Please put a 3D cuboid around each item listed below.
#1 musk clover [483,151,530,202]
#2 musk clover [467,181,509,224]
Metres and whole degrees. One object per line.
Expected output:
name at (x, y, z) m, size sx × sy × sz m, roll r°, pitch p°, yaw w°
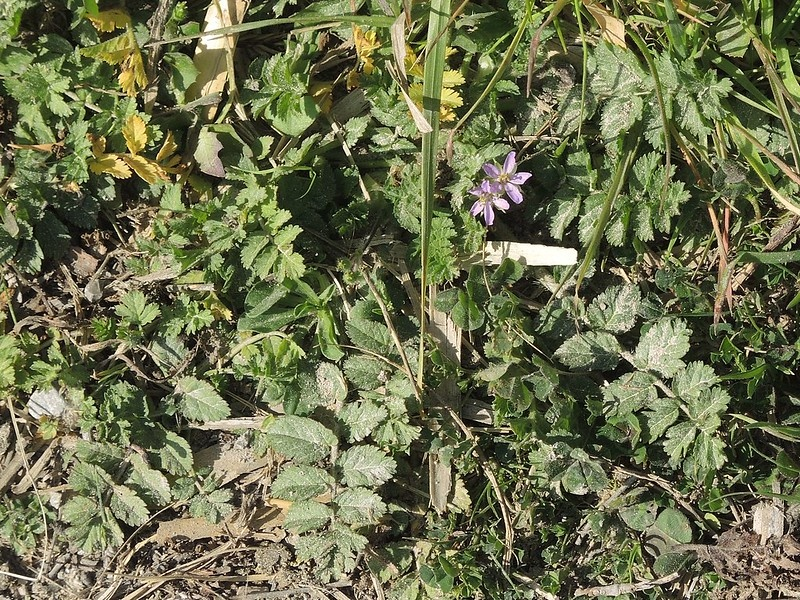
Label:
musk clover at (0.411, -0.480, 3.076) m, size 0.176 × 0.145 × 0.136 m, roll 16°, pitch 52°, yaw 22°
musk clover at (0.329, -0.397, 3.076) m, size 0.116 × 0.150 × 0.055 m, roll -1°, pitch 62°, yaw -22°
